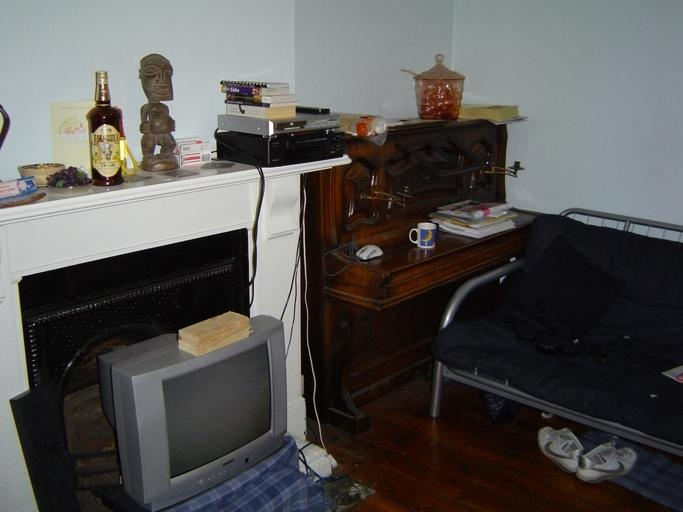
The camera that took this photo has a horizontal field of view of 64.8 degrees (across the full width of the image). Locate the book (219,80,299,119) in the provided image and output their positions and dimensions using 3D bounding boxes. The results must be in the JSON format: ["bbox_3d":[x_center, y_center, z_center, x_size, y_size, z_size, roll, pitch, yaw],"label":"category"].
[{"bbox_3d":[-0.331,-0.625,2.144,0.281,0.147,0.168,13,25,38],"label":"book"}]

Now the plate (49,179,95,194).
[{"bbox_3d":[-0.853,-0.213,1.702,0.120,0.024,0.099,-13,22,-27],"label":"plate"}]

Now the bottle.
[{"bbox_3d":[-0.786,-0.418,1.765,0.110,0.354,0.135,-8,19,-14],"label":"bottle"}]

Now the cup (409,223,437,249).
[{"bbox_3d":[0.436,-0.107,2.846,0.169,0.132,0.109,2,14,18],"label":"cup"}]

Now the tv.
[{"bbox_3d":[-0.597,0.465,2.045,0.542,0.606,0.725,16,25,40],"label":"tv"}]

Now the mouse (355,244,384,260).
[{"bbox_3d":[0.136,-0.028,2.587,0.068,0.035,0.104,19,22,38],"label":"mouse"}]

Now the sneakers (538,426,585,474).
[{"bbox_3d":[1.034,0.905,2.537,0.207,0.078,0.210,10,23,32],"label":"sneakers"}]

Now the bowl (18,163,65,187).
[{"bbox_3d":[-0.979,-0.275,1.761,0.100,0.049,0.101,0,8,0],"label":"bowl"}]

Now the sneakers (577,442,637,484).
[{"bbox_3d":[1.184,0.923,2.401,0.324,0.140,0.127,-13,17,-29],"label":"sneakers"}]

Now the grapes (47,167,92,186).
[{"bbox_3d":[-0.873,-0.237,1.735,0.085,0.045,0.084,-5,-4,30],"label":"grapes"}]
